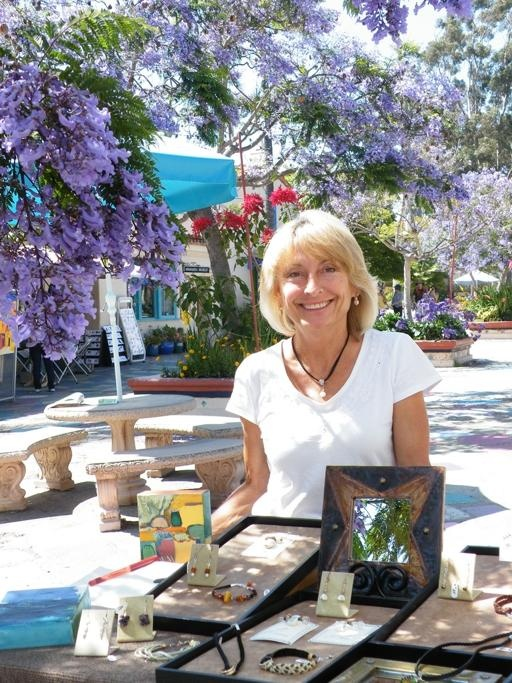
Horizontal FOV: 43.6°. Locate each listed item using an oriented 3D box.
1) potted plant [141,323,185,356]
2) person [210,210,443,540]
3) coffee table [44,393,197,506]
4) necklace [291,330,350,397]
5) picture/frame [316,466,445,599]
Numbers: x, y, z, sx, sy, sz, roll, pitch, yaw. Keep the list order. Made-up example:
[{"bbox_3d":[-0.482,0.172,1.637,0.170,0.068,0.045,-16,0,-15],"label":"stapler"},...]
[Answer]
[{"bbox_3d":[-3.187,-0.002,21.500,0.877,0.927,1.884,-2,5,23],"label":"potted plant"},{"bbox_3d":[0.156,0.103,1.801,0.661,0.924,0.571,-3,-1,21],"label":"person"},{"bbox_3d":[-1.191,0.993,5.704,1.240,0.802,1.251,-3,-6,37],"label":"coffee table"},{"bbox_3d":[0.184,0.071,1.848,0.133,0.191,0.035,-2,-10,27],"label":"necklace"},{"bbox_3d":[0.253,0.383,1.266,0.298,0.294,0.052,-1,-16,18],"label":"picture/frame"}]
